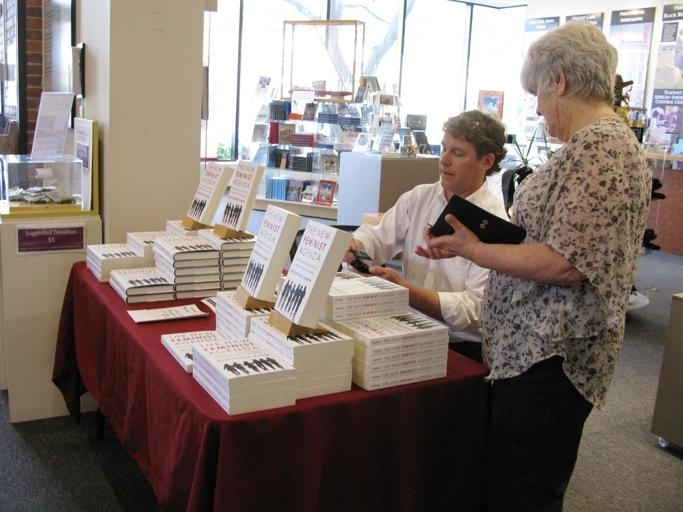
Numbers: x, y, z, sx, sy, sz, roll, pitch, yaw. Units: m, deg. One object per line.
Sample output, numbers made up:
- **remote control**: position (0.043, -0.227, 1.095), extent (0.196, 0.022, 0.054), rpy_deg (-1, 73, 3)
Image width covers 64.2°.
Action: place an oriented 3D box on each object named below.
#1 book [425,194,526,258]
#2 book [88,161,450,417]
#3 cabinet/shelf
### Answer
- **book**: position (0.497, -0.104, 2.011), extent (0.231, 0.185, 0.016), rpy_deg (35, 26, 16)
- **book**: position (-0.142, 0.118, 2.032), extent (0.976, 0.577, 0.683), rpy_deg (-3, 12, -25)
- **cabinet/shelf**: position (-0.559, -1.386, 8.737), extent (1.780, 1.811, 0.588), rpy_deg (9, 12, 40)
